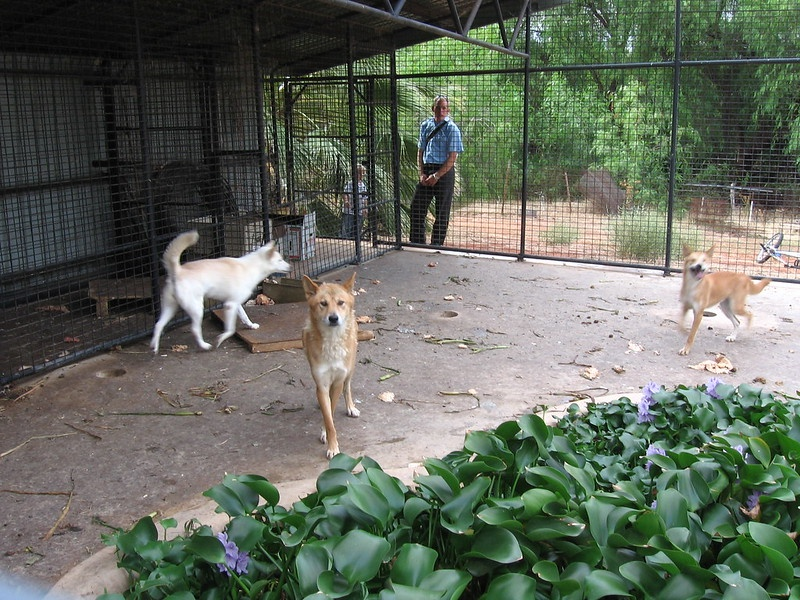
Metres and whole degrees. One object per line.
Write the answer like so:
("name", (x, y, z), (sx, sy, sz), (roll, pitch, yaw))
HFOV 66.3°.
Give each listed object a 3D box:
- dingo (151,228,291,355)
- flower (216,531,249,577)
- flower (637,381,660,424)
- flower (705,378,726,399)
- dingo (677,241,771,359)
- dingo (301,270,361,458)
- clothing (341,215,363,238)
("dingo", (-1.795, -0.143, 6.113), (0.420, 1.093, 1.617), (5, 11, 37))
("flower", (-0.664, 1.032, 2.468), (0.068, 0.153, 0.154), (-15, 37, 17))
("flower", (1.425, 0.598, 3.556), (0.190, 0.205, 0.096), (-2, -27, 44))
("flower", (1.868, 0.534, 3.648), (0.117, 0.115, 0.072), (-31, -22, 22))
("dingo", (3.340, -0.046, 6.321), (1.575, 1.082, 0.439), (-6, 7, -33))
("dingo", (-0.502, 0.432, 4.451), (0.391, 1.180, 0.826), (-2, 15, -5))
("clothing", (-0.785, -1.163, 9.598), (0.374, 0.391, 0.363), (0, 1, -2))
